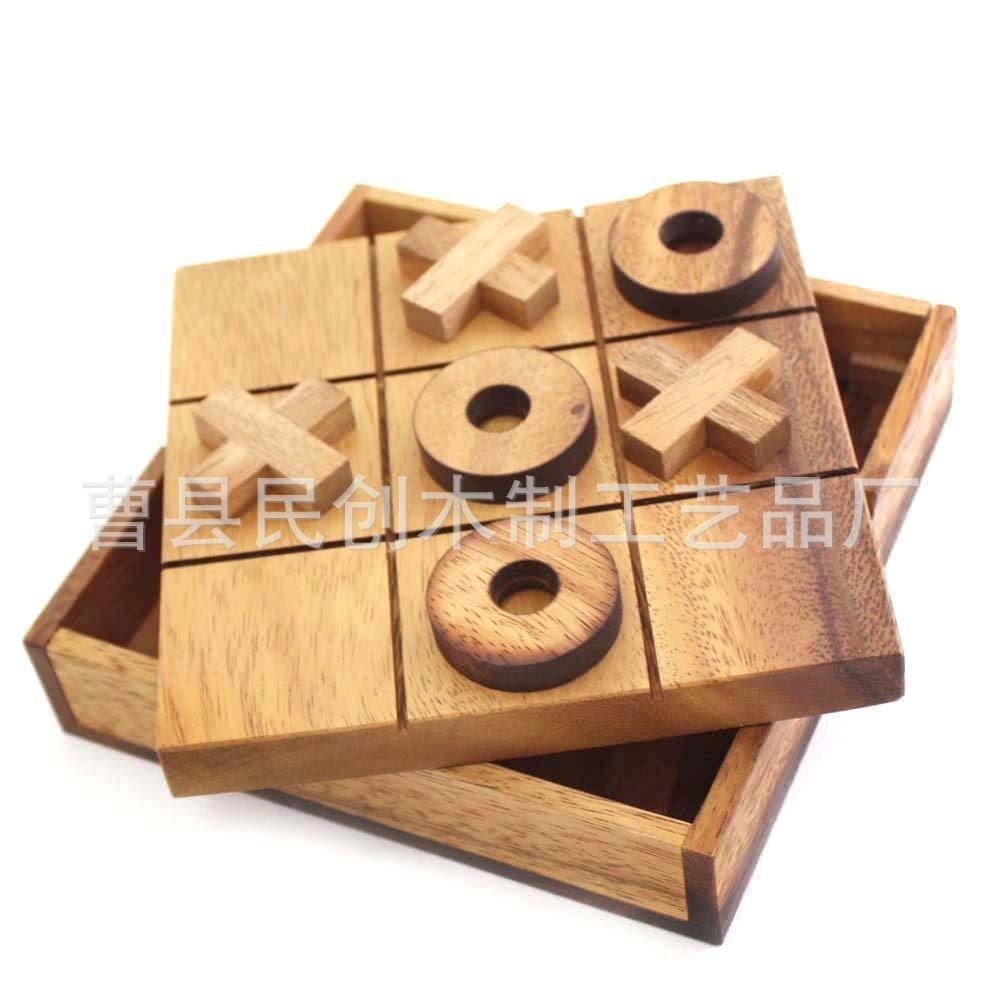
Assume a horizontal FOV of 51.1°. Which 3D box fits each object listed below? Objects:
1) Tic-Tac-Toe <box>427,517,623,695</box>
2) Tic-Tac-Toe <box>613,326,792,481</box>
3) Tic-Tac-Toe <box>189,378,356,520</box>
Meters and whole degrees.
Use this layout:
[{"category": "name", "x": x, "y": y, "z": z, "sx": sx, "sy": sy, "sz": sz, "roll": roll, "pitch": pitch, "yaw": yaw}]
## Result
[{"category": "Tic-Tac-Toe", "x": 0.039, "y": 0.154, "z": 1.603, "sx": 0.288, "sy": 0.063, "sz": 0.281, "roll": -31, "pitch": 47, "yaw": -20}, {"category": "Tic-Tac-Toe", "x": 0.329, "y": -0.170, "z": 1.781, "sx": 0.280, "sy": 0.069, "sz": 0.280, "roll": -40, "pitch": 59, "yaw": -23}, {"category": "Tic-Tac-Toe", "x": -0.411, "y": -0.065, "z": 1.928, "sx": 0.278, "sy": 0.085, "sz": 0.273, "roll": 33, "pitch": 61, "yaw": 26}]
